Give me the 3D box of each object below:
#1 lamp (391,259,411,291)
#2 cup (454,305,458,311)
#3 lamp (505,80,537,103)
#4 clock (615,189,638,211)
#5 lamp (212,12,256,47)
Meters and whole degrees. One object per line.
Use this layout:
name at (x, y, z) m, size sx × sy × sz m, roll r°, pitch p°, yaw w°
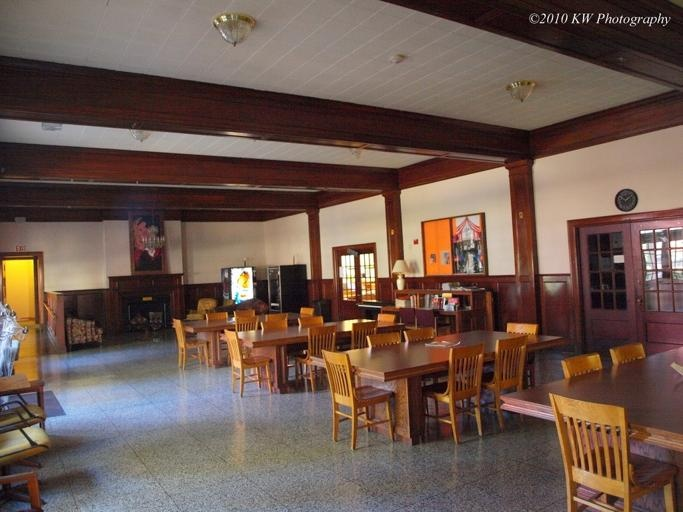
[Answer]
lamp at (1.389, 0.408, 11.003) m, size 0.385 × 0.683 × 0.754 m, roll -4°, pitch 2°, yaw 6°
cup at (2.152, 0.970, 9.002) m, size 0.109 × 0.090 × 0.053 m, roll -2°, pitch 6°, yaw -23°
lamp at (2.398, -2.185, 6.369) m, size 0.411 × 0.189 × 0.457 m, roll -3°, pitch 2°, yaw 14°
clock at (4.467, -0.881, 7.510) m, size 0.050 × 0.377 × 0.322 m, roll -7°, pitch 4°, yaw -37°
lamp at (-0.997, -2.153, 4.482) m, size 0.335 × 0.154 × 0.303 m, roll 1°, pitch -23°, yaw -18°
